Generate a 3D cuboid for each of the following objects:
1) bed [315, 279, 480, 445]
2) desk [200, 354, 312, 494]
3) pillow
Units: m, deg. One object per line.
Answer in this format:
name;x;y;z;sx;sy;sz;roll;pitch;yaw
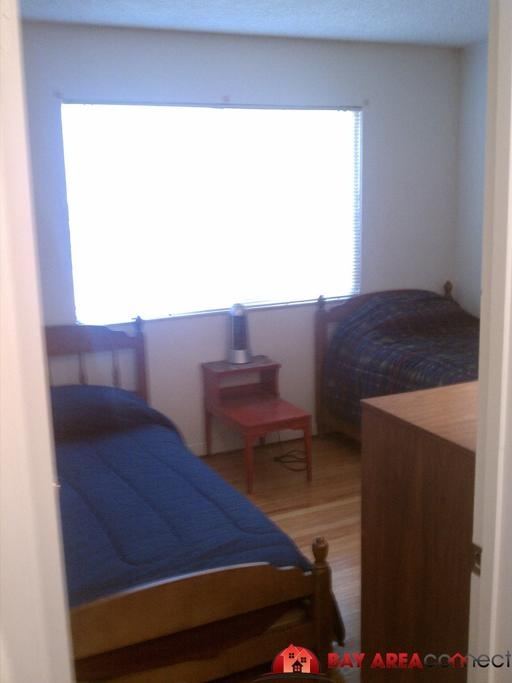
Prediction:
bed;0.913;0.032;3.527;0.932;0.761;0.957;-6;12;-18
desk;-0.005;0.450;3.368;0.452;0.609;0.653;-7;11;-31
pillow;-0.708;0.354;2.825;0.392;0.133;0.508;-3;8;-25
